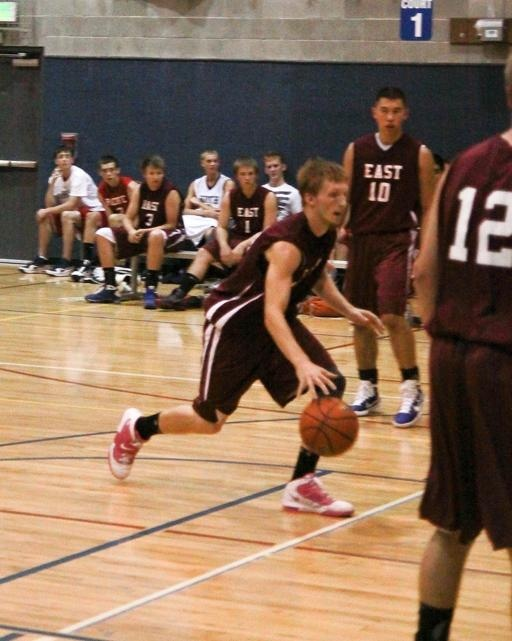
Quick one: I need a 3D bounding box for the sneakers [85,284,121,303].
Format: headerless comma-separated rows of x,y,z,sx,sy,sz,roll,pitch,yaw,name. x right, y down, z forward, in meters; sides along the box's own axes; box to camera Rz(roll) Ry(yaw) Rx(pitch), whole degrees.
-1.688,-0.288,8.449,0.467,0.185,0.151,2,7,-8,sneakers

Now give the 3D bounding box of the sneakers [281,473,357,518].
0.207,0.644,2.801,0.339,0.165,0.104,3,-1,6,sneakers

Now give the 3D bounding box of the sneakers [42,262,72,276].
-2.760,-0.701,10.302,0.166,0.183,0.449,1,-1,38,sneakers

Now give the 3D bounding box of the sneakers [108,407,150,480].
-0.529,0.505,3.094,0.158,0.310,0.115,20,9,28,sneakers

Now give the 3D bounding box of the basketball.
0.240,0.352,2.520,0.186,0.216,0.199,0,4,-4,basketball
